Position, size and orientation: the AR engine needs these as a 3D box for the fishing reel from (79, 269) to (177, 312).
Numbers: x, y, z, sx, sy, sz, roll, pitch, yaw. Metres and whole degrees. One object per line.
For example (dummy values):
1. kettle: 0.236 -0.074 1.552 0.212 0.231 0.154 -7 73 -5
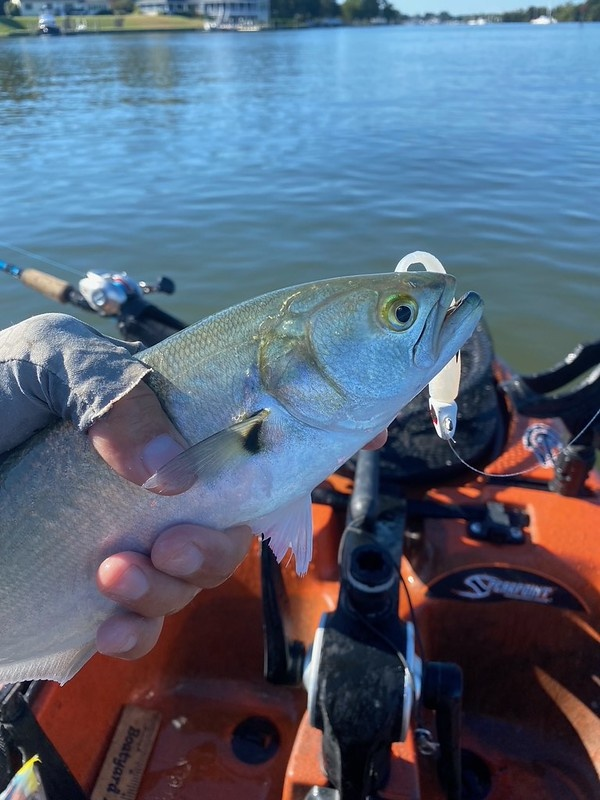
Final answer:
1. fishing reel: -1.066 -0.702 4.066 0.374 0.185 0.419 25 24 -2
